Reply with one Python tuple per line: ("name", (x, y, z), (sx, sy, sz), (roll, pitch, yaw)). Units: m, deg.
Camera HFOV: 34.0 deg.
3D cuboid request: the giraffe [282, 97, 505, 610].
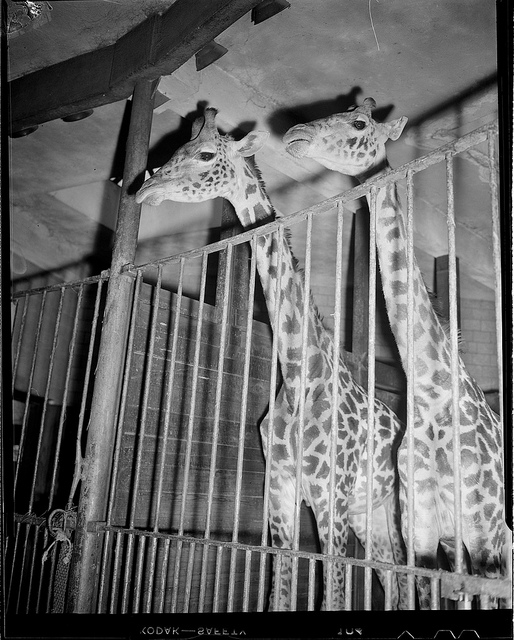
("giraffe", (0.557, 0.025, 2.879), (0.905, 1.814, 0.561), (19, -25, -33))
